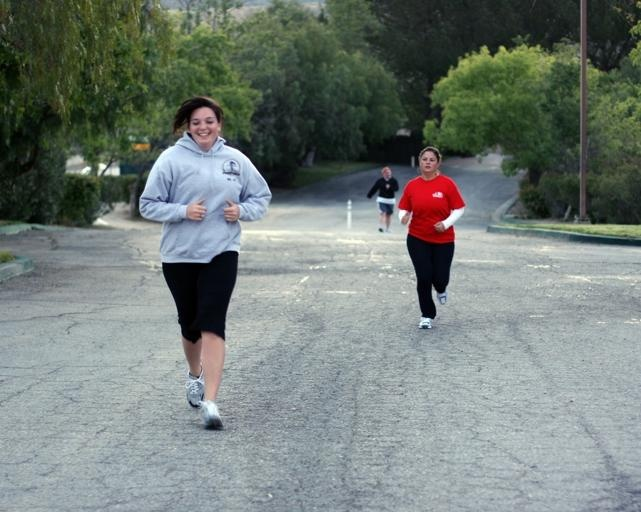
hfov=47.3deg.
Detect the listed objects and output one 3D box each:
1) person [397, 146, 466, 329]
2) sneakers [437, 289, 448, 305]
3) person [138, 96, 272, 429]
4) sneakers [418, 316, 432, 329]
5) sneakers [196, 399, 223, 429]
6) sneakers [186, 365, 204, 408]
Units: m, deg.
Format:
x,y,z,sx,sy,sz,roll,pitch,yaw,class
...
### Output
x,y,z,sx,sy,sz,roll,pitch,yaw,class
1.291,-0.264,8.625,0.744,2.055,1.054,1,6,10,person
1.510,0.517,9.110,0.093,0.260,0.119,-4,45,-3,sneakers
-0.889,-0.013,5.481,0.815,2.337,0.806,3,7,28,person
1.191,0.757,8.291,0.101,0.122,0.267,0,-6,4,sneakers
-0.765,1.108,5.112,0.159,0.202,0.163,0,6,2,sneakers
-0.968,0.998,5.604,0.104,0.312,0.134,-3,8,0,sneakers
